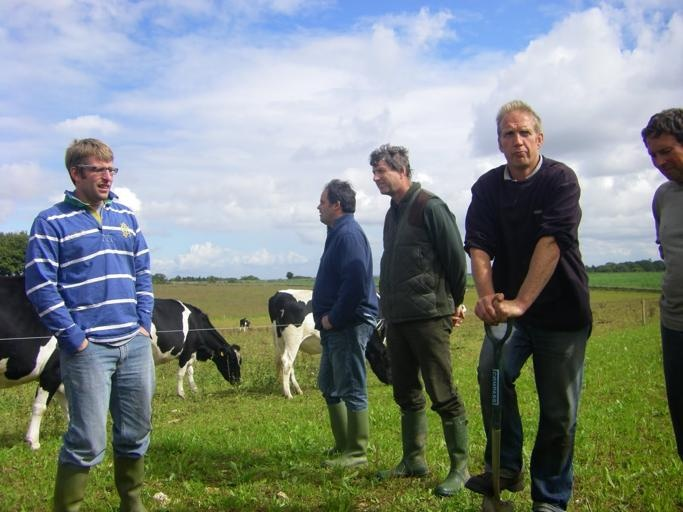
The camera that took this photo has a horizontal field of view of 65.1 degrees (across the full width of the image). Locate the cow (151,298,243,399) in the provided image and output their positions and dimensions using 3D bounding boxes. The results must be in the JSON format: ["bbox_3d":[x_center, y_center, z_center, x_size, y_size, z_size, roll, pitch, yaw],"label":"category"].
[{"bbox_3d":[-3.798,2.228,13.395,1.612,2.222,2.045,-4,3,34],"label":"cow"}]

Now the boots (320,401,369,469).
[{"bbox_3d":[0.089,2.125,6.184,0.608,0.856,0.417,3,-9,-7],"label":"boots"}]

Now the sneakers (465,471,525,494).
[{"bbox_3d":[1.373,2.007,4.788,0.506,0.287,0.230,6,-11,-13],"label":"sneakers"}]

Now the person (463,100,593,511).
[{"bbox_3d":[1.643,0.543,4.745,1.019,3.874,0.928,-4,3,28],"label":"person"}]

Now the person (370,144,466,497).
[{"bbox_3d":[0.818,0.551,5.617,0.960,3.618,0.853,-4,3,27],"label":"person"}]
